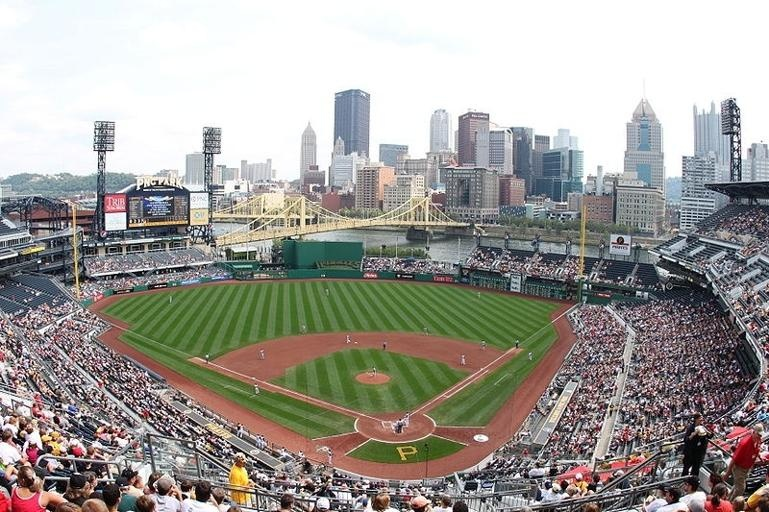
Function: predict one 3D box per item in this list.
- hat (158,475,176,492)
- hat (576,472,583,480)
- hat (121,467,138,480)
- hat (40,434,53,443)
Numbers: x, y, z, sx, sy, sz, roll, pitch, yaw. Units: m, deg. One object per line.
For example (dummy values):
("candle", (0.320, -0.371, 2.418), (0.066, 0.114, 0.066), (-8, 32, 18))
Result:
("hat", (-7.798, 8.094, 25.573), (0.476, 0.555, 0.564), (17, 19, -3))
("hat", (8.101, 9.206, 29.960), (0.277, 0.312, 0.505), (0, 5, 9))
("hat", (-9.472, 8.140, 26.563), (0.395, 0.331, 0.582), (6, 14, 17))
("hat", (-13.922, 7.492, 29.539), (0.385, 0.311, 0.777), (-2, 5, -24))
